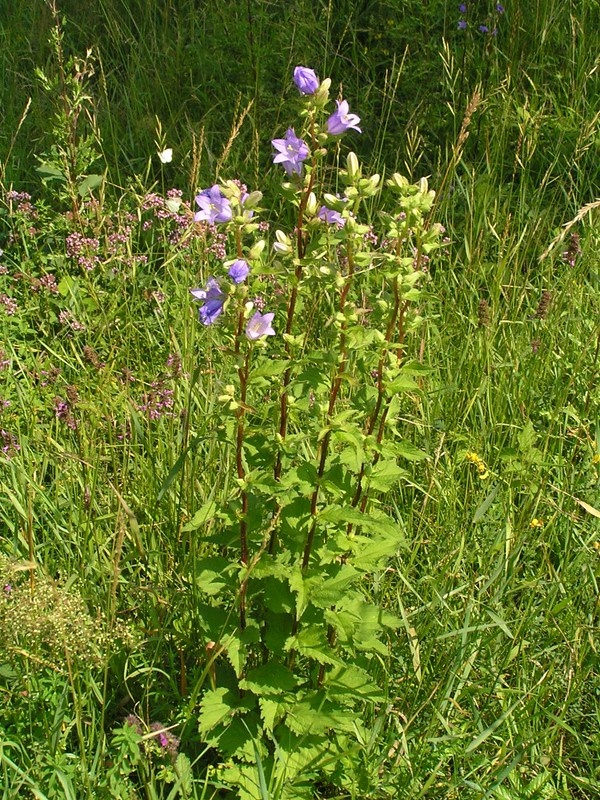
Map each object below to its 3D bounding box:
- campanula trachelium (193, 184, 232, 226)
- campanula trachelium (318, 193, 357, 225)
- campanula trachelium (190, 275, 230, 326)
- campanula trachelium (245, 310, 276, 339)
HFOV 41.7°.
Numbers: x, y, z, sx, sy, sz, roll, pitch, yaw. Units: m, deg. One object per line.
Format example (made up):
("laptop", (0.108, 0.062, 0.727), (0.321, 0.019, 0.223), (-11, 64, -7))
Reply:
("campanula trachelium", (-0.173, -0.386, 1.547), (0.072, 0.076, 0.036), (16, 23, 11))
("campanula trachelium", (0.071, -0.396, 1.651), (0.069, 0.079, 0.028), (-8, 9, 6))
("campanula trachelium", (-0.185, -0.200, 1.589), (0.076, 0.093, 0.038), (6, 16, -8))
("campanula trachelium", (-0.084, -0.152, 1.605), (0.057, 0.069, 0.060), (-3, 49, -4))
